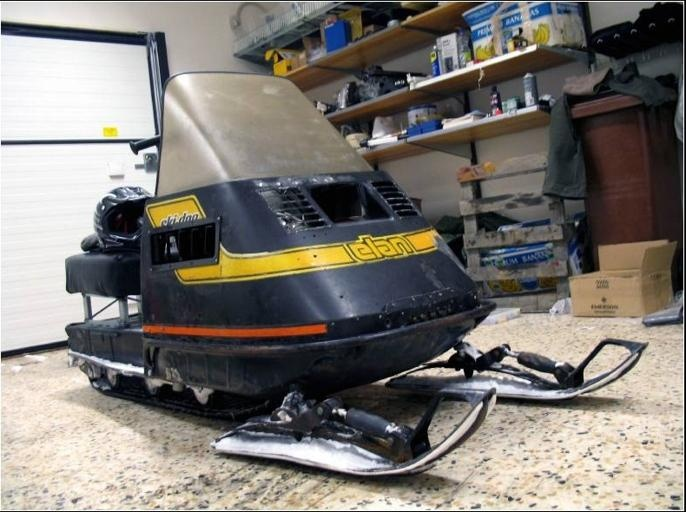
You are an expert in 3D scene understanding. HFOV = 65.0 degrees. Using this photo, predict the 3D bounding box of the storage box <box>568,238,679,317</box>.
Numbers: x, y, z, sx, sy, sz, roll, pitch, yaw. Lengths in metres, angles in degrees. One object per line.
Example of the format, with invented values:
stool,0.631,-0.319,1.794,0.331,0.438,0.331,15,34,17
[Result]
storage box,2.031,0.248,4.350,0.671,0.469,0.622,-2,-5,14

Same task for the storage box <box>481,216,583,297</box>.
storage box,1.779,0.048,4.940,0.829,0.469,0.776,-5,3,5

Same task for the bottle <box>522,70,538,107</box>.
bottle,1.673,-1.480,4.798,0.162,0.318,0.137,-14,10,-40
